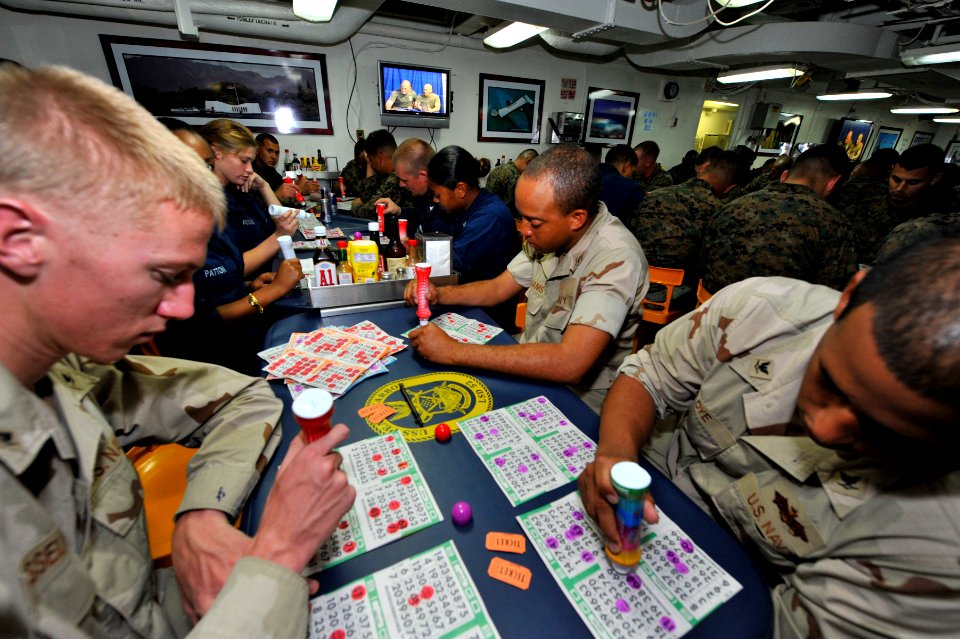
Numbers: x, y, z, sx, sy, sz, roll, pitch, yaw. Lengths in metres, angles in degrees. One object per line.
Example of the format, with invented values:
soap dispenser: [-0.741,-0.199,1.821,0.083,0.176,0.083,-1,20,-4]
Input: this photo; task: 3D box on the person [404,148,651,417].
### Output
person: [0.187,-0.149,2.377,1.354,1.023,0.787,-9,53,-10]

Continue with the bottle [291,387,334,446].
bottle: [-0.451,0.270,1.435,0.076,0.196,0.072,8,55,-12]

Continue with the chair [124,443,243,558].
chair: [-0.933,0.577,1.666,0.370,0.351,0.226,-7,40,-10]

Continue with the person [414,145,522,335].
person: [-0.099,-0.431,3.239,0.702,1.099,0.570,2,26,-5]

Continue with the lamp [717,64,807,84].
lamp: [3.173,-2.688,5.863,0.487,0.127,1.084,-3,24,-11]
